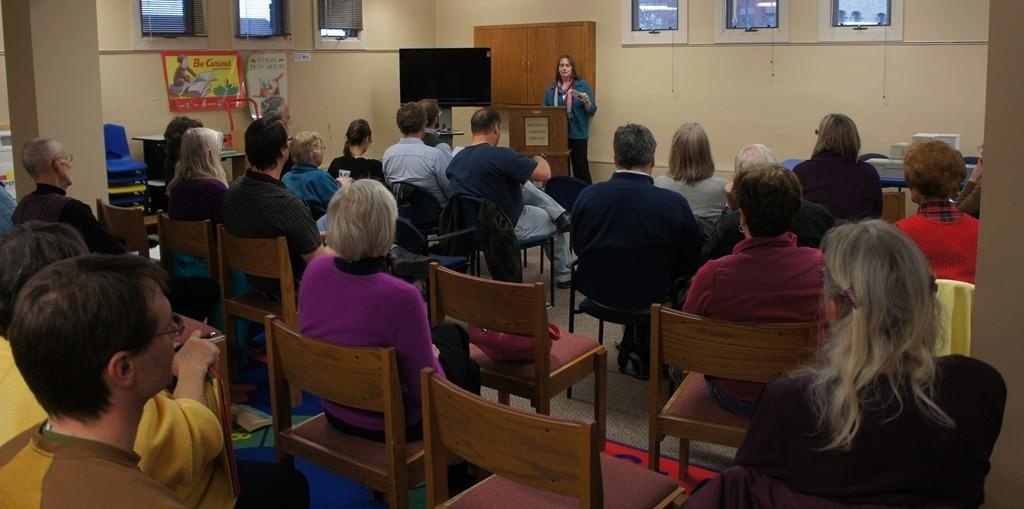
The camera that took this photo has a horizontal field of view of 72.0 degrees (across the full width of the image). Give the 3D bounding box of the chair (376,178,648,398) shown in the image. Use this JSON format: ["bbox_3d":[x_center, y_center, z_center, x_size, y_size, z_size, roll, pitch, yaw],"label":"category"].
[{"bbox_3d":[-0.003,0.230,4.845,0.514,0.876,1.529,-14,20,-42],"label":"chair"}]

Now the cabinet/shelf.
[{"bbox_3d":[0.337,-2.838,10.797,1.911,1.188,0.489,6,14,32],"label":"cabinet/shelf"}]

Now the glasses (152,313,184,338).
[{"bbox_3d":[-1.414,0.282,2.913,0.086,0.086,0.217,-3,11,-18],"label":"glasses"}]

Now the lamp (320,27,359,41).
[{"bbox_3d":[-2.498,-3.171,10.166,0.084,0.172,0.643,10,14,43],"label":"lamp"}]

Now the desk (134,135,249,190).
[{"bbox_3d":[-4.075,-1.134,8.448,0.651,0.504,1.033,6,11,26],"label":"desk"}]

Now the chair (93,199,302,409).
[{"bbox_3d":[-1.750,0.279,4.083,1.323,0.757,0.445,15,20,42],"label":"chair"}]
